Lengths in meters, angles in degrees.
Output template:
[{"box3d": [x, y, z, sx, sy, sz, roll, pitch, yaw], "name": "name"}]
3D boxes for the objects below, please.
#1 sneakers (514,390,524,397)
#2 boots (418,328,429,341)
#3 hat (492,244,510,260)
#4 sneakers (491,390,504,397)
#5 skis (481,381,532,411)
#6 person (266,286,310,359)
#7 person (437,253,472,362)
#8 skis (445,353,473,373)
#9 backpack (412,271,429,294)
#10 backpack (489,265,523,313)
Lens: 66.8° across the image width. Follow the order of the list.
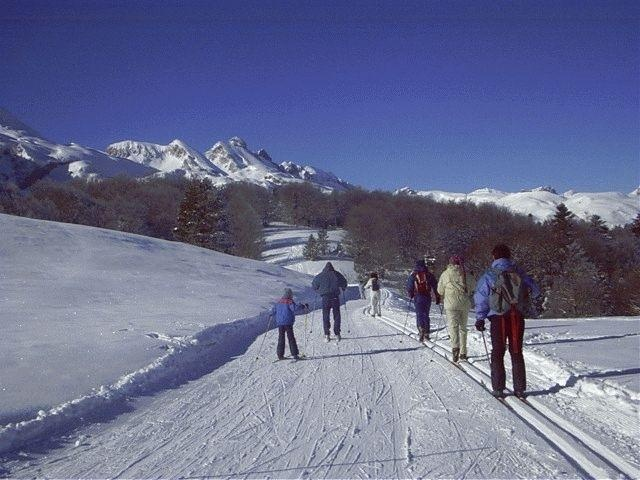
[{"box3d": [3.699, 2.859, 9.033, 0.199, 0.090, 0.126, 5, 15, 27], "name": "sneakers"}, {"box3d": [2.796, 2.550, 13.079, 0.142, 0.483, 0.316, 2, 36, -1], "name": "boots"}, {"box3d": [3.608, 0.213, 9.635, 0.256, 0.367, 0.348, 0, 7, 10], "name": "hat"}, {"box3d": [3.343, 2.857, 9.094, 0.096, 0.119, 0.164, 11, 13, -26], "name": "sneakers"}, {"box3d": [3.488, 2.898, 9.128, 0.744, 0.251, 0.143, 21, -12, 27], "name": "skis"}, {"box3d": [-0.808, 2.137, 12.438, 0.768, 1.929, 1.533, -3, 13, -4], "name": "person"}, {"box3d": [3.239, 1.652, 11.293, 0.850, 2.341, 1.372, -2, 13, 3], "name": "person"}, {"box3d": [3.099, 2.716, 10.777, 0.178, 0.289, 0.627, 7, 2, -1], "name": "skis"}, {"box3d": [2.653, 1.121, 12.763, 0.407, 0.486, 0.418, -2, 13, 2], "name": "backpack"}, {"box3d": [3.545, 0.963, 9.205, 0.646, 0.783, 0.395, -1, 13, 8], "name": "backpack"}]
